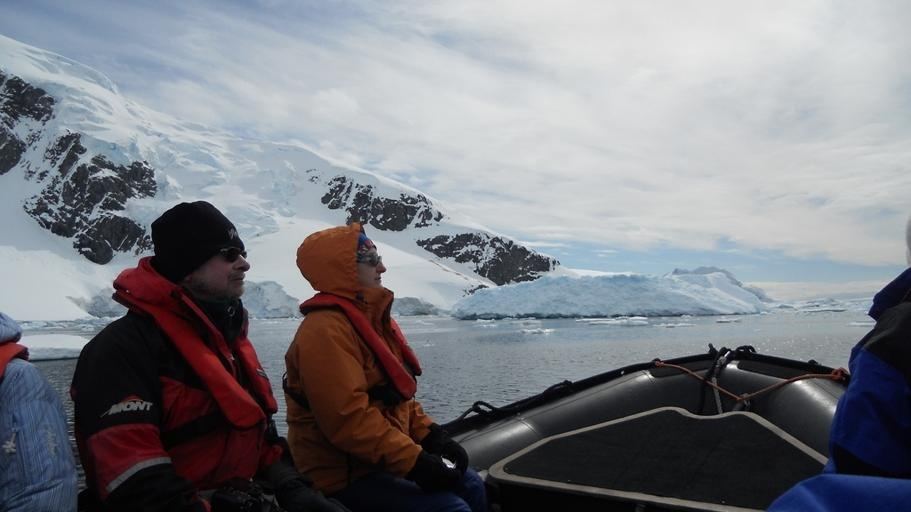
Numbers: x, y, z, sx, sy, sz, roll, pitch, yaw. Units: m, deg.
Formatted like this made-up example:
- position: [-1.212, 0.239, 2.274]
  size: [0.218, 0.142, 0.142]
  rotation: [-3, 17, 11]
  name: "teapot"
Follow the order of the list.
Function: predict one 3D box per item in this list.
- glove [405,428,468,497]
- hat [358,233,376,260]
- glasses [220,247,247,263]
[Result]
- position: [-0.106, 1.406, 4.439]
  size: [0.416, 0.131, 0.301]
  rotation: [29, 24, 10]
  name: "glove"
- position: [-0.629, -0.056, 4.661]
  size: [0.182, 0.124, 0.191]
  rotation: [-2, 6, -1]
  name: "hat"
- position: [-1.412, -0.011, 4.163]
  size: [0.129, 0.038, 0.124]
  rotation: [-16, -15, 36]
  name: "glasses"
